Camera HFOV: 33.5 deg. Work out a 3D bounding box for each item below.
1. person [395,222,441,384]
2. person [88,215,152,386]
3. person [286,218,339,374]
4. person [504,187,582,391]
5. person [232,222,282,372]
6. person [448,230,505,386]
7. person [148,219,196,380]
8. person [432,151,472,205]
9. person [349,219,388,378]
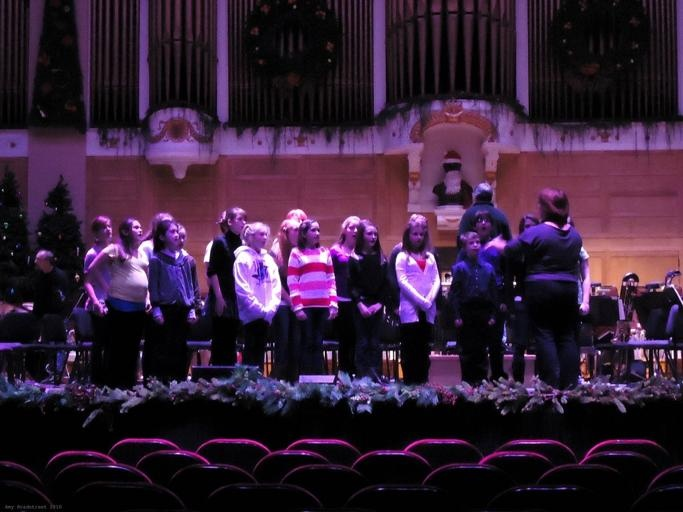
[{"bbox_3d":[0.811,0.439,12.142,0.470,1.788,0.485,0,-2,4],"label":"person"},{"bbox_3d":[-2.335,0.482,12.000,0.623,1.778,0.439,1,-2,-13],"label":"person"},{"bbox_3d":[-0.320,0.446,12.309,0.508,1.649,0.299,1,-2,-4],"label":"person"},{"bbox_3d":[2.075,0.309,11.388,0.651,1.995,0.332,0,-2,11],"label":"person"},{"bbox_3d":[-0.904,0.392,12.135,0.496,1.512,0.313,1,-2,-5],"label":"person"},{"bbox_3d":[1.427,0.529,12.069,0.433,1.589,0.450,2,-3,-39],"label":"person"},{"bbox_3d":[-1.808,0.449,12.115,0.536,1.702,0.443,1,-2,-16],"label":"person"},{"bbox_3d":[1.722,-1.181,17.354,0.650,1.014,0.494,0,-15,3],"label":"person"},{"bbox_3d":[0.291,0.461,12.327,0.410,1.724,0.394,1,-2,0],"label":"person"}]
